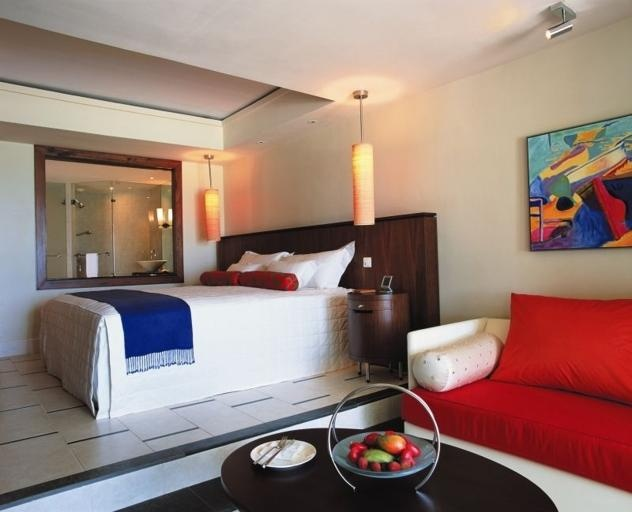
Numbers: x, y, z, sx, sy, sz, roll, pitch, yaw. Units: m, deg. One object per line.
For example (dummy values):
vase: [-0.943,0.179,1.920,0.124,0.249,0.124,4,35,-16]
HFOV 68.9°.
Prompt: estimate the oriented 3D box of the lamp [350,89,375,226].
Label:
lamp: [0.438,-0.885,4.318,0.197,1.204,0.555,-2,5,7]

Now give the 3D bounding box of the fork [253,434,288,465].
fork: [-0.200,0.875,2.063,0.049,0.035,0.244,2,13,17]

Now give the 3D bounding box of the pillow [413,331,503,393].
pillow: [0.919,0.671,2.975,0.555,0.222,0.267,-1,-4,-44]

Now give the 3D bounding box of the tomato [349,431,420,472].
tomato: [0.281,0.750,1.856,0.158,0.064,0.157,1,-2,-42]

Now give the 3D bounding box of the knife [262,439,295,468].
knife: [-0.163,0.870,2.108,0.040,0.035,0.320,0,10,16]

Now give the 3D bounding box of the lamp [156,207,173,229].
lamp: [-2.144,-0.534,6.516,0.252,0.361,0.257,6,6,41]
